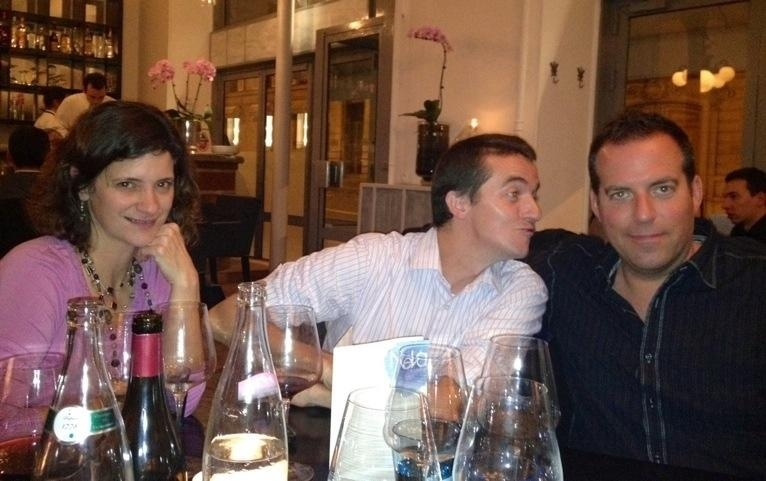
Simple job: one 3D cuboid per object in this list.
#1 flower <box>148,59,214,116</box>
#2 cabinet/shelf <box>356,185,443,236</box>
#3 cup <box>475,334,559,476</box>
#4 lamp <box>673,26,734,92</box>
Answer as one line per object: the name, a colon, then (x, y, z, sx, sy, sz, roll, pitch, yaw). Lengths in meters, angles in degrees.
flower: (-2.126, -1.582, 6.337, 0.648, 0.655, 0.479, -7, 8, -2)
cabinet/shelf: (0.131, -0.237, 4.461, 0.508, 0.467, 0.180, 4, 6, 41)
cup: (0.364, 0.389, 1.540, 0.232, 0.218, 0.234, 2, -6, 0)
lamp: (2.300, -1.309, 4.387, 0.403, 0.378, 0.396, -5, 5, 7)
